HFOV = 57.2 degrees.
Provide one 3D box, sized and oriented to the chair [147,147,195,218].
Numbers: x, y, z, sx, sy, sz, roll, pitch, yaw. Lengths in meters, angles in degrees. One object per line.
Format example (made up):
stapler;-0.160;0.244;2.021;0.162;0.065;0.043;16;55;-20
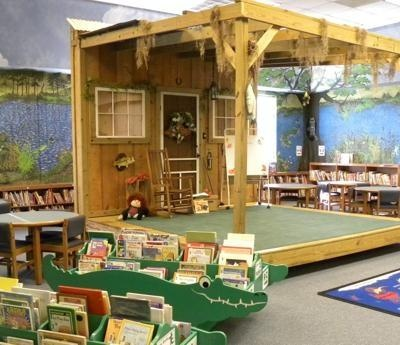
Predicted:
chair;-0.444;0.225;7.605;0.963;1.414;0.899;2;3;8

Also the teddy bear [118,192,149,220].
teddy bear;-1.230;0.655;7.033;0.318;0.330;0.565;3;-8;-1
